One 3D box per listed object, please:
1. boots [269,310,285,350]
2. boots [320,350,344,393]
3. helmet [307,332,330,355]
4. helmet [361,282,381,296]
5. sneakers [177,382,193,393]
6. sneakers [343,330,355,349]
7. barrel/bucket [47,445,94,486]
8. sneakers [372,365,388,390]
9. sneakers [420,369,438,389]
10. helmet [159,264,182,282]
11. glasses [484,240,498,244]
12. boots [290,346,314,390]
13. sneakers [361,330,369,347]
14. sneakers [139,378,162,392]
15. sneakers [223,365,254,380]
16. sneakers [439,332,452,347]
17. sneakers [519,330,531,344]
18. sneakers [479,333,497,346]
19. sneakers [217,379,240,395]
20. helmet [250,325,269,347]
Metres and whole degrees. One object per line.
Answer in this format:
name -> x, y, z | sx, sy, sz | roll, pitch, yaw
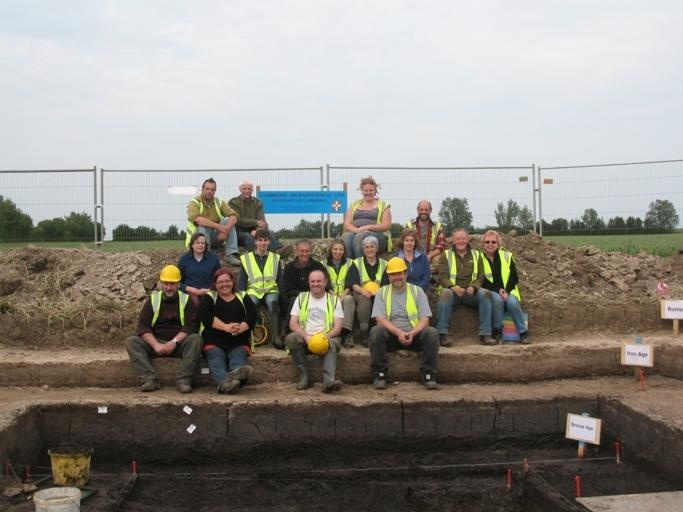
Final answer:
boots -> -1.054, 1.164, 15.677 | 0.204, 0.663, 0.362 | -2, 3, -5
boots -> -0.154, 1.736, 14.702 | 0.303, 0.607, 0.739 | -2, 3, -2
helmet -> -0.352, 1.332, 14.612 | 0.304, 0.308, 0.311 | -9, -19, 5
helmet -> 0.483, 0.511, 15.609 | 0.285, 0.231, 0.310 | -2, 3, 2
sneakers -> -2.363, 1.964, 14.511 | 0.215, 0.179, 0.238 | -3, 3, -16
sneakers -> 0.097, 1.301, 15.504 | 0.172, 0.316, 0.263 | -2, 3, 0
barrel/bucket -> -3.704, 2.868, 13.139 | 0.476, 0.406, 0.491 | 0, -6, 0
sneakers -> 0.603, 1.871, 14.860 | 0.224, 0.337, 0.233 | -3, 3, -6
sneakers -> 1.372, 1.895, 14.830 | 0.241, 0.288, 0.236 | -2, 3, 3
helmet -> -2.652, 0.260, 14.911 | 0.229, 0.190, 0.338 | 2, 7, -12
glasses -> 2.517, -0.252, 16.134 | 0.214, 0.084, 0.098 | -3, 3, 2
boots -> -0.575, 1.686, 14.825 | 0.239, 0.686, 0.402 | 0, 3, 35
sneakers -> 0.378, 1.312, 15.512 | 0.089, 0.284, 0.392 | -3, 3, -12
sneakers -> -2.898, 1.970, 14.653 | 0.131, 0.158, 0.319 | -6, -15, 29
sneakers -> -1.548, 1.735, 14.435 | 0.428, 0.181, 0.202 | -6, 0, 14
sneakers -> 1.701, 1.333, 15.632 | 0.189, 0.211, 0.284 | -2, 3, 7
sneakers -> 3.004, 1.310, 15.666 | 0.161, 0.206, 0.188 | -2, 3, 10
sneakers -> 2.421, 1.365, 15.687 | 0.326, 0.267, 0.114 | -7, -5, 37
sneakers -> -1.676, 1.949, 14.362 | 0.405, 0.167, 0.197 | -14, 0, 21
helmet -> -1.328, 1.274, 15.686 | 0.238, 0.333, 0.128 | -4, -19, 10
